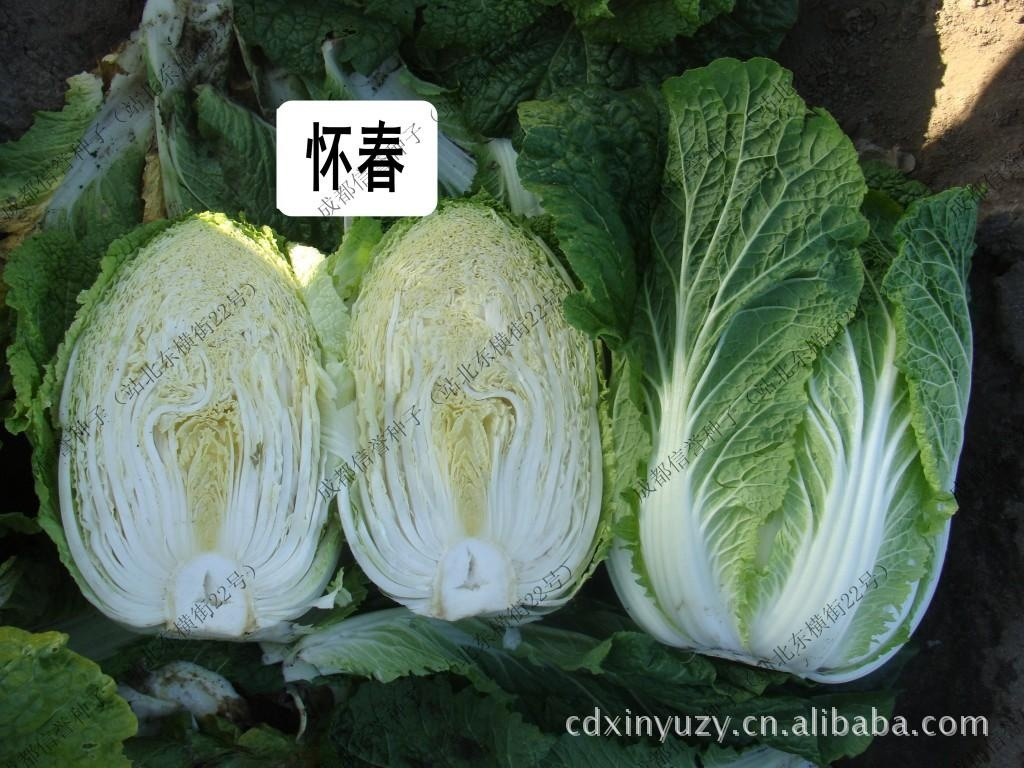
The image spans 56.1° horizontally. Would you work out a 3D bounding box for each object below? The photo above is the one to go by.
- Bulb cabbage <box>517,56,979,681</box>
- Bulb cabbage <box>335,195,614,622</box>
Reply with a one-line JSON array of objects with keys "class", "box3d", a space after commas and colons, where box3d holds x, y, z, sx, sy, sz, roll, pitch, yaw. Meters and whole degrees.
[{"class": "Bulb cabbage", "box3d": [0.560, -0.015, 2.307, 0.946, 0.505, 1.298, 7, 100, 3]}, {"class": "Bulb cabbage", "box3d": [-0.078, 0.081, 2.171, 0.510, 0.287, 0.877, -1, 88, 1]}]
